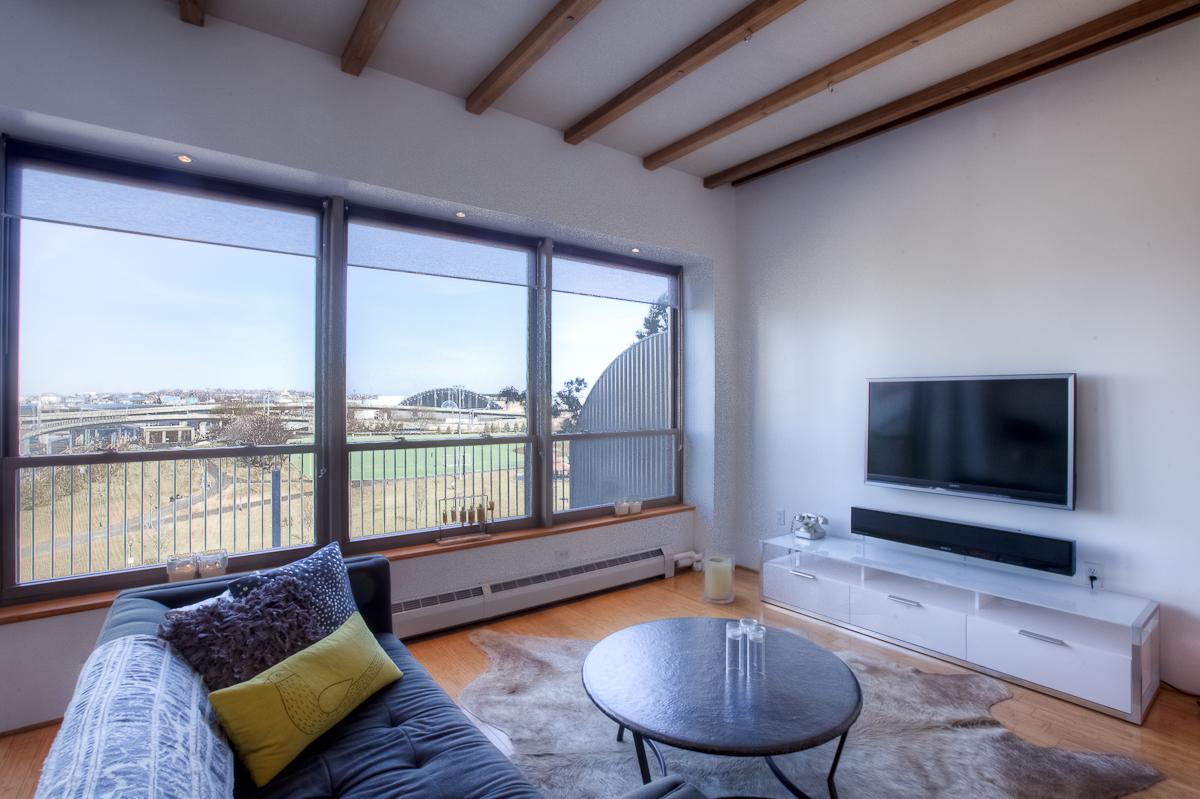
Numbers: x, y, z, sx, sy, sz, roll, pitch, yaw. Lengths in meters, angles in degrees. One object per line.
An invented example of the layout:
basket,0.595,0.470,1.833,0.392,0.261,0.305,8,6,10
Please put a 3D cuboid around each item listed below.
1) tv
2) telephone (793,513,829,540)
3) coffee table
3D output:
tv,2.644,0.295,5.208,0.043,0.701,1.095,4,-4,-42
telephone,1.673,1.010,5.916,0.213,0.160,0.225,12,-16,-39
coffee table,0.631,1.522,3.902,1.098,0.464,1.086,2,7,25
